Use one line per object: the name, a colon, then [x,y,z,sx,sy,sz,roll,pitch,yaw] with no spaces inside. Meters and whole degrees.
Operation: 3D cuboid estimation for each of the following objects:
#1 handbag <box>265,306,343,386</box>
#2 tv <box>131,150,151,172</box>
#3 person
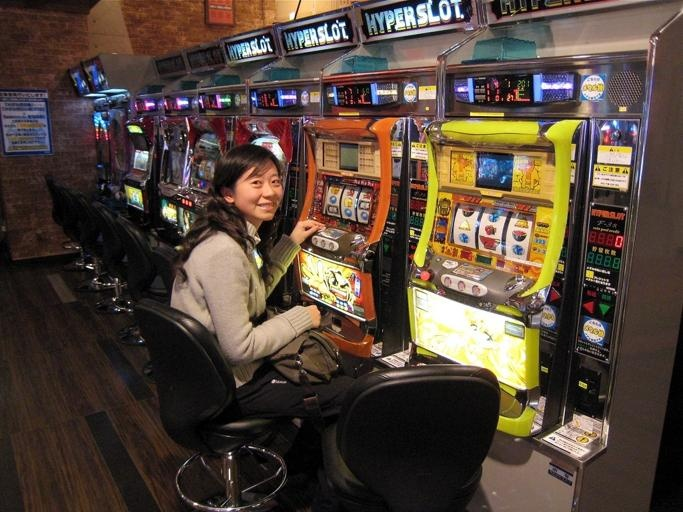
handbag: [-0.175,0.490,2.187,0.302,0.226,0.123,14,-34,-11]
tv: [-3.009,-1.429,6.924,0.461,0.438,0.111,4,-2,45]
person: [-0.372,0.396,2.411,0.990,1.699,0.869,0,14,-13]
